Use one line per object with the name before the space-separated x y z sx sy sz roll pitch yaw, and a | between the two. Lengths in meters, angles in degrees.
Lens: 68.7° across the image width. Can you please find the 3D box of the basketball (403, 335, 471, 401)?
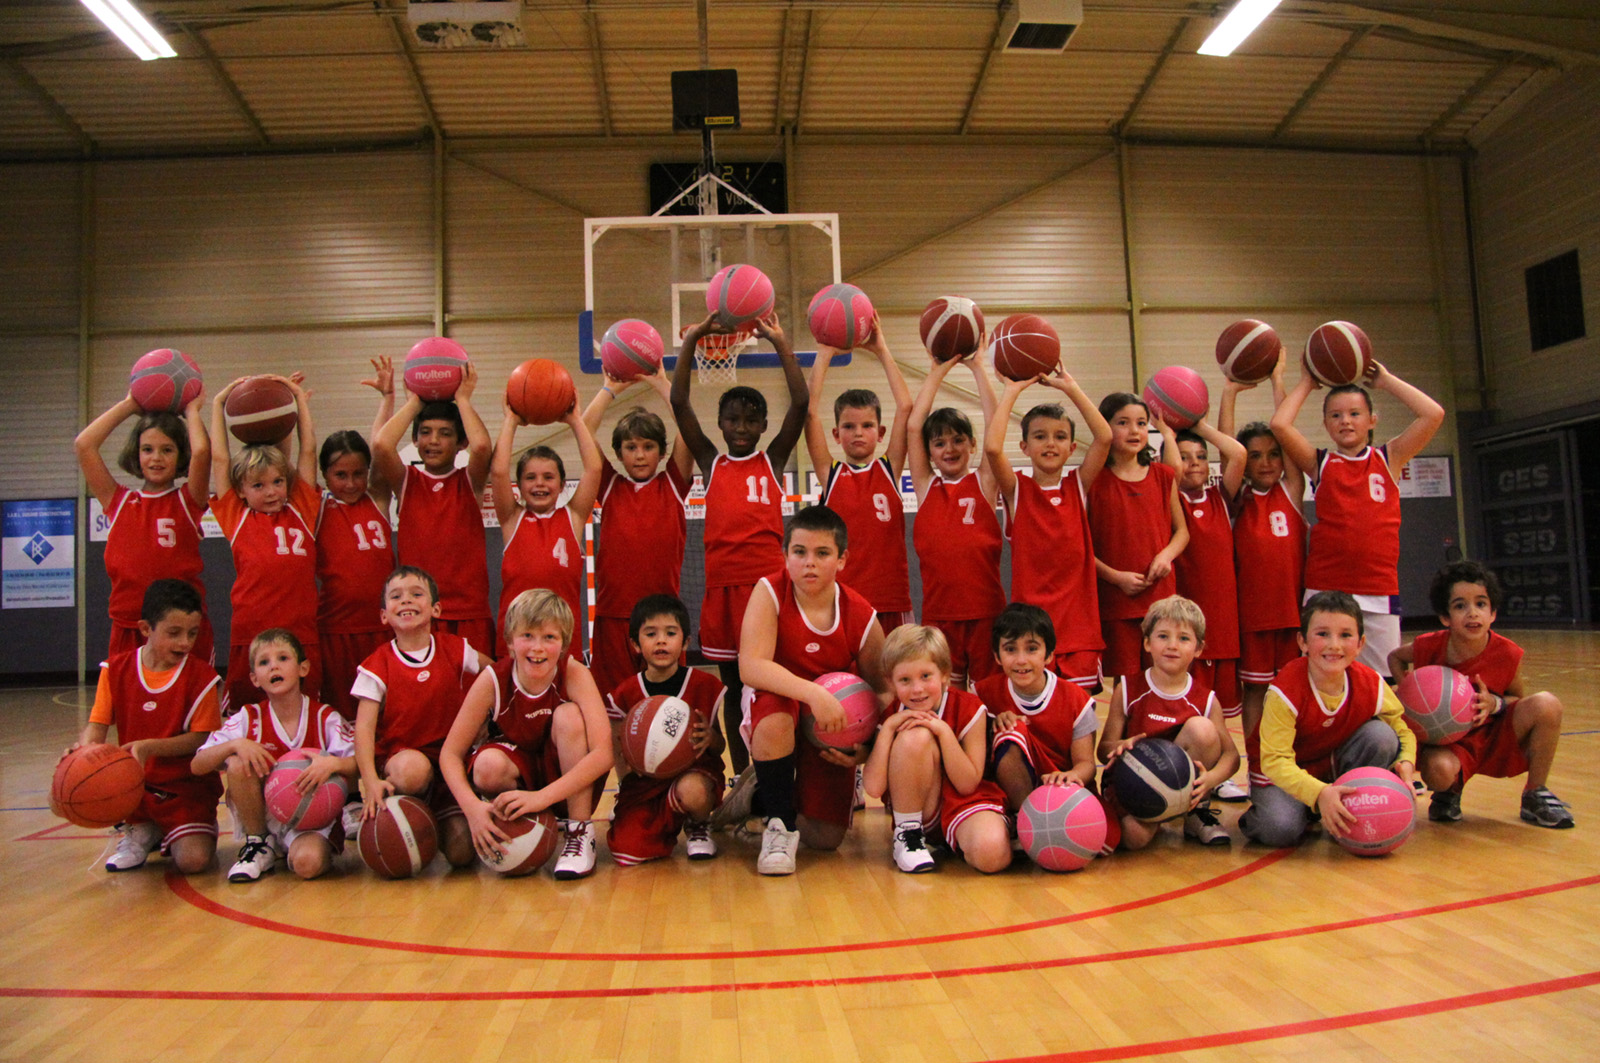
basketball | -1.865 -0.838 6.024 0.322 0.315 0.234 -3 8 -11

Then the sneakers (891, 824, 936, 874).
sneakers | 0.497 1.359 5.040 0.165 0.173 0.175 -3 8 -9

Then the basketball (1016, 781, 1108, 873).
basketball | 1.098 1.228 5.005 0.365 0.363 0.375 9 -27 -45

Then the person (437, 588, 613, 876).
person | -1.173 0.828 5.161 0.951 1.290 1.149 0 -1 -9

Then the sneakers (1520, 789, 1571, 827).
sneakers | 3.392 1.255 5.337 0.107 0.110 0.262 0 -5 -11

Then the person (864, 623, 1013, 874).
person | 0.598 0.933 5.115 0.616 1.002 0.459 -1 8 6

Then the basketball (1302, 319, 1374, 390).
basketball | 2.796 -0.916 6.056 0.266 0.332 0.340 6 11 42

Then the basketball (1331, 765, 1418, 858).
basketball | 2.482 1.188 5.073 0.399 0.384 0.384 3 -7 -38

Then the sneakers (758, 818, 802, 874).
sneakers | -0.101 1.369 5.097 0.180 0.206 0.224 -1 8 1

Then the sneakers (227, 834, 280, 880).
sneakers | -2.411 1.431 5.160 0.149 0.158 0.205 -1 8 1

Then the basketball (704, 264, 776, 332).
basketball | -0.289 -1.247 6.069 0.338 0.328 0.305 14 19 -27

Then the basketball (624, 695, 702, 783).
basketball | -0.613 0.927 5.357 0.362 0.379 0.336 1 3 7

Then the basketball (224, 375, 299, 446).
basketball | -2.651 -0.637 5.903 0.344 0.344 0.348 13 12 8

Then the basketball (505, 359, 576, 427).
basketball | -1.337 -0.719 6.074 0.351 0.338 0.345 5 -8 7

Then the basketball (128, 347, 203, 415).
basketball | -3.216 -0.784 5.993 0.352 0.335 0.341 1 -4 6

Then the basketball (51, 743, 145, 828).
basketball | -3.059 1.106 5.124 0.241 0.286 0.242 27 -16 36

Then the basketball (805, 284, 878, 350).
basketball | 0.217 -1.132 6.144 0.389 0.369 0.382 -3 -1 -9

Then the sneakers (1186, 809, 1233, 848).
sneakers | 1.846 1.336 5.279 0.094 0.115 0.278 1 -1 9

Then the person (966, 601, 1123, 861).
person | 1.050 0.801 5.201 0.868 1.297 0.942 -1 -1 11

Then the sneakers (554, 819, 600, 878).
sneakers | -0.989 1.378 5.126 0.185 0.233 0.253 -3 8 -8

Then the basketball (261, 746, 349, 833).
basketball | -2.159 1.156 5.201 0.344 0.343 0.346 12 15 -21

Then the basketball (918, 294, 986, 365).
basketball | 0.790 -1.028 6.050 0.353 0.335 0.328 0 2 -1
